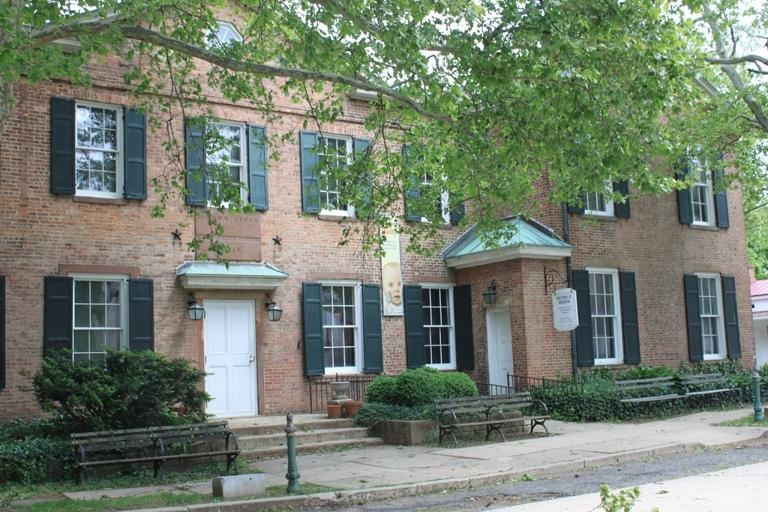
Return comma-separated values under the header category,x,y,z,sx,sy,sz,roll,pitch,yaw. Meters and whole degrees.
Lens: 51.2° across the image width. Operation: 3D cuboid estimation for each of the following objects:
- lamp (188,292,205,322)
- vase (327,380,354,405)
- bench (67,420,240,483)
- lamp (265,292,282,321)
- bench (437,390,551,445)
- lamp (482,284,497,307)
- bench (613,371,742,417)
category,x,y,z,sx,sy,sz,roll,pitch,yaw
lamp,-4.963,1.312,21.200,0.423,0.712,0.804,0,-10,-12
vase,-1.154,3.666,21.650,0.666,0.539,0.610,5,-11,-41
bench,-4.788,4.061,16.816,3.227,1.080,1.799,2,-10,-21
lamp,-3.028,1.375,22.199,0.442,0.775,0.596,0,-10,-14
bench,2.669,3.980,19.726,2.944,0.953,0.893,0,3,-26
lamp,3.204,1.146,24.217,0.461,0.641,0.348,-9,-11,35
bench,8.535,4.002,23.429,5.131,1.146,1.010,4,-11,-32
